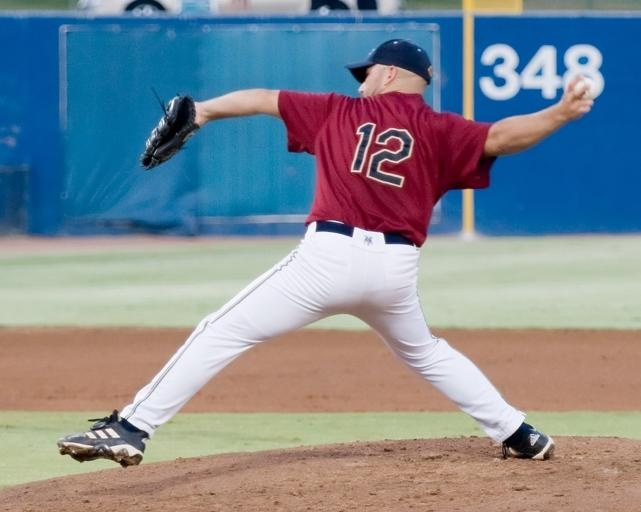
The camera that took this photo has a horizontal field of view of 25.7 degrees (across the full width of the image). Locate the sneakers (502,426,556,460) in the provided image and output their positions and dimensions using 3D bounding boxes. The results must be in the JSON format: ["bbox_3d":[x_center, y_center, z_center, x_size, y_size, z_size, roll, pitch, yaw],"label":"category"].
[{"bbox_3d":[1.455,1.292,9.850,0.420,0.186,0.174,2,1,6],"label":"sneakers"}]

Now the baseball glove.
[{"bbox_3d":[-1.040,-0.843,9.751,0.216,0.535,0.345,41,8,-18],"label":"baseball glove"}]

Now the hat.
[{"bbox_3d":[0.485,-1.308,9.756,0.474,0.256,0.321,17,3,11],"label":"hat"}]
